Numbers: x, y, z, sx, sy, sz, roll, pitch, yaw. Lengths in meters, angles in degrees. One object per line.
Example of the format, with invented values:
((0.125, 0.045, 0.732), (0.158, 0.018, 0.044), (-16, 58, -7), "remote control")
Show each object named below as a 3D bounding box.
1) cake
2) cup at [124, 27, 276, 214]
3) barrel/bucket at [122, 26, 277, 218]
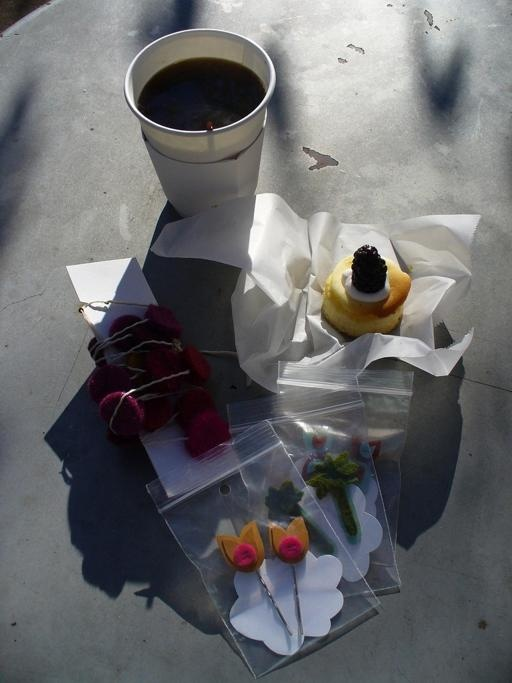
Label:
((0.156, -0.086, 0.960), (0.111, 0.151, 0.110), (-16, 51, -19), "cake")
((-0.081, -0.336, 1.028), (0.223, 0.263, 0.232), (-2, 61, 3), "cup")
((-0.083, -0.359, 1.058), (0.238, 0.278, 0.279), (-25, 76, -7), "barrel/bucket")
